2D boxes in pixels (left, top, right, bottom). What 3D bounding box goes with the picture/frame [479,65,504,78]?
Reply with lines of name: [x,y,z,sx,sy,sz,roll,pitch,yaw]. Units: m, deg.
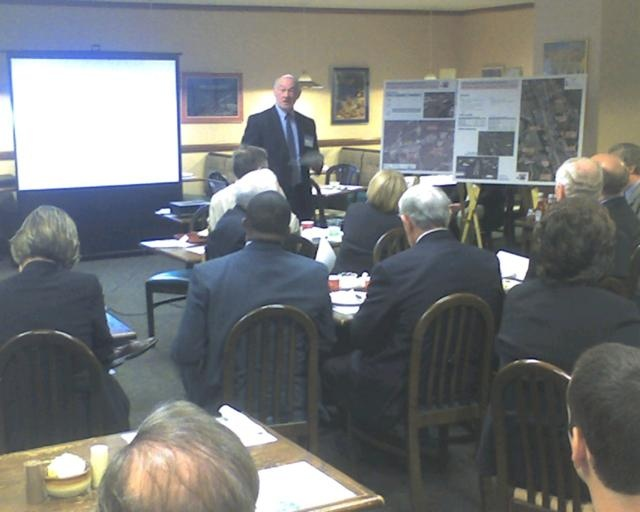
picture/frame: [3.111,-3.322,10.457,0.385,0.223,0.683,3,13,16]

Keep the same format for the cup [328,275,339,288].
cup: [0.080,0.141,3.149,0.054,0.066,0.056,2,4,0]

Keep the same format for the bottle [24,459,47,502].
bottle: [-0.648,0.516,1.324,0.042,0.095,0.030,-7,13,-31]

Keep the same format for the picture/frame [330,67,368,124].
picture/frame: [0.503,-2.923,10.464,0.973,1.176,0.063,-3,12,-24]

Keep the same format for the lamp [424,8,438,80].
lamp: [2.165,-4.042,11.126,0.363,1.165,0.148,-10,15,-39]
